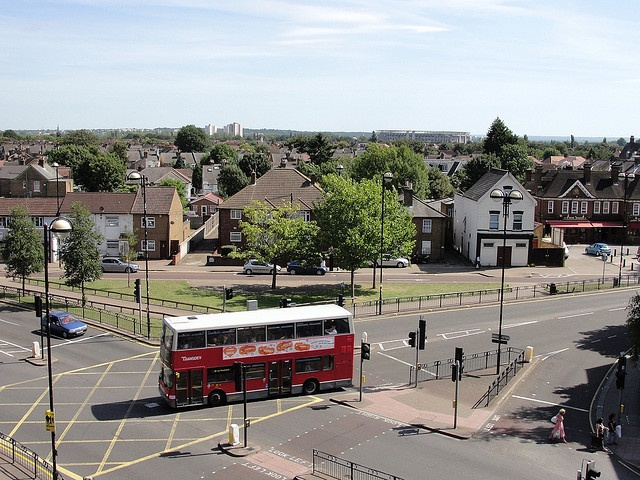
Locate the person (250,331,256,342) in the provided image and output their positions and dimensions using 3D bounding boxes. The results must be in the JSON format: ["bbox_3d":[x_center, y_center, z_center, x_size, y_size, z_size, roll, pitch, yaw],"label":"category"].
[{"bbox_3d":[-4.739,6.947,63.776,0.411,0.839,0.114,-1,8,-6],"label":"person"}]

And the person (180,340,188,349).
[{"bbox_3d":[-9.565,7.462,62.403,0.704,0.459,0.104,-1,8,-11],"label":"person"}]

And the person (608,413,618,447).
[{"bbox_3d":[19.929,12.729,59.784,0.709,2.019,0.897,3,8,18],"label":"person"}]

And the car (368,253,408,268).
[{"bbox_3d":[8.364,2.957,105.589,4.274,1.468,2.185,-1,2,-1],"label":"car"}]

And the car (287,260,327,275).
[{"bbox_3d":[-1.621,3.238,101.753,4.194,1.499,0.972,0,7,-1],"label":"car"}]

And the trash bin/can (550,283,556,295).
[{"bbox_3d":[24.004,5.067,90.848,0.897,1.015,0.891,-2,2,-39],"label":"trash bin/can"}]

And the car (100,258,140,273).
[{"bbox_3d":[-23.010,3.238,101.565,4.277,1.364,1.929,0,5,-1],"label":"car"}]

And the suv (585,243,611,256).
[{"bbox_3d":[35.740,1.352,113.038,2.662,1.346,4.689,-1,7,-10],"label":"suv"}]

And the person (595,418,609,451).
[{"bbox_3d":[18.996,12.903,59.368,0.839,1.948,1.494,3,8,22],"label":"person"}]
